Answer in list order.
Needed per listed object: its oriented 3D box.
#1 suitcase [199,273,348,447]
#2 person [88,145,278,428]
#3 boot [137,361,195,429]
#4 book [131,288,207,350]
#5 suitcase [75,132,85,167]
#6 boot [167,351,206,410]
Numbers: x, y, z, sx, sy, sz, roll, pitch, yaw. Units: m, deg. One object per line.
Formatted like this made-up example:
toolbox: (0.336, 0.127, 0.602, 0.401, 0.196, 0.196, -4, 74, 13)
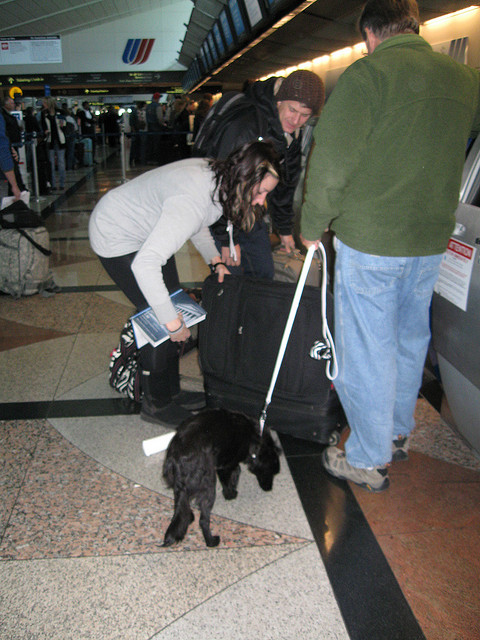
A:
suitcase: (0.130, 0.148, 1.817, 0.583, 0.553, 0.303, 10, 23, 26)
person: (-0.177, -0.044, 1.828, 0.503, 1.151, 0.748, -15, 28, -28)
boot: (-0.309, 0.316, 2.113, 0.267, 0.283, 0.156, 12, 28, 18)
book: (-0.257, 0.007, 1.807, 0.251, 0.072, 0.182, -29, 51, -22)
suitcase: (-4.351, -4.497, 13.278, 0.238, 0.692, 0.634, -8, 26, -15)
boot: (-0.256, 0.298, 2.318, 0.251, 0.297, 0.116, -9, 33, -14)
